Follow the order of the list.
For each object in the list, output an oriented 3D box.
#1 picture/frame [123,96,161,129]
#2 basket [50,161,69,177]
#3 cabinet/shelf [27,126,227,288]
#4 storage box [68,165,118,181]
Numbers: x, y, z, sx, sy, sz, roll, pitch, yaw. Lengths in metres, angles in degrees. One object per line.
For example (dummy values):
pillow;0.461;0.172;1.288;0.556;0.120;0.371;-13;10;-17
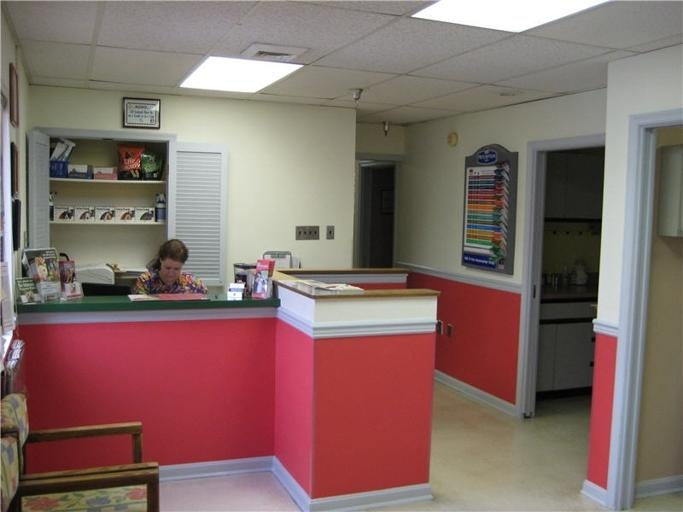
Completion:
picture/frame;-1.921;-1.376;4.991;0.324;0.281;0.036;-1;-1;-17
basket;-2.670;-0.813;4.987;0.152;0.115;0.147;-1;-4;17
cabinet/shelf;-2.015;-0.503;4.930;1.572;1.519;0.475;-1;3;-17
storage box;-2.414;-0.813;5.090;0.435;0.148;0.182;1;5;-25
